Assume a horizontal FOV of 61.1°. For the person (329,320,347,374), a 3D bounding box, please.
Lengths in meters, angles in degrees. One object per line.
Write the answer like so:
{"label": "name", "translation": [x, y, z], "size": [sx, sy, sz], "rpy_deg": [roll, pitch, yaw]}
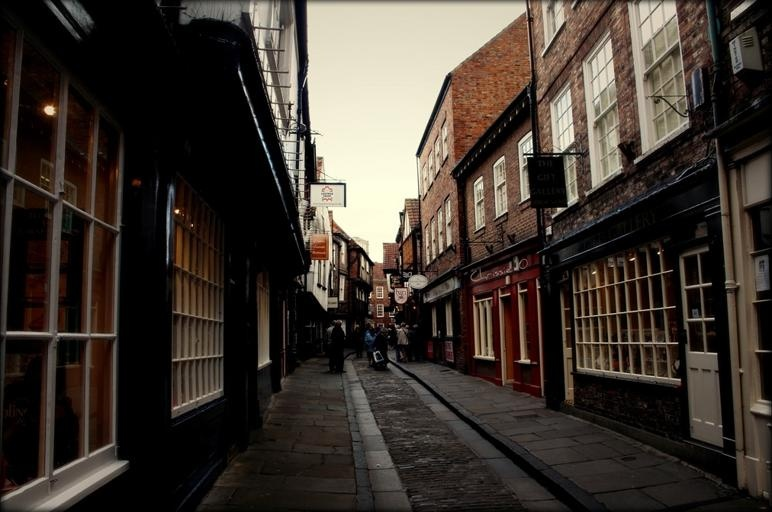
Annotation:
{"label": "person", "translation": [-1.550, 2.886, 20.811], "size": [0.437, 1.631, 1.037], "rpy_deg": [0, -1, -7]}
